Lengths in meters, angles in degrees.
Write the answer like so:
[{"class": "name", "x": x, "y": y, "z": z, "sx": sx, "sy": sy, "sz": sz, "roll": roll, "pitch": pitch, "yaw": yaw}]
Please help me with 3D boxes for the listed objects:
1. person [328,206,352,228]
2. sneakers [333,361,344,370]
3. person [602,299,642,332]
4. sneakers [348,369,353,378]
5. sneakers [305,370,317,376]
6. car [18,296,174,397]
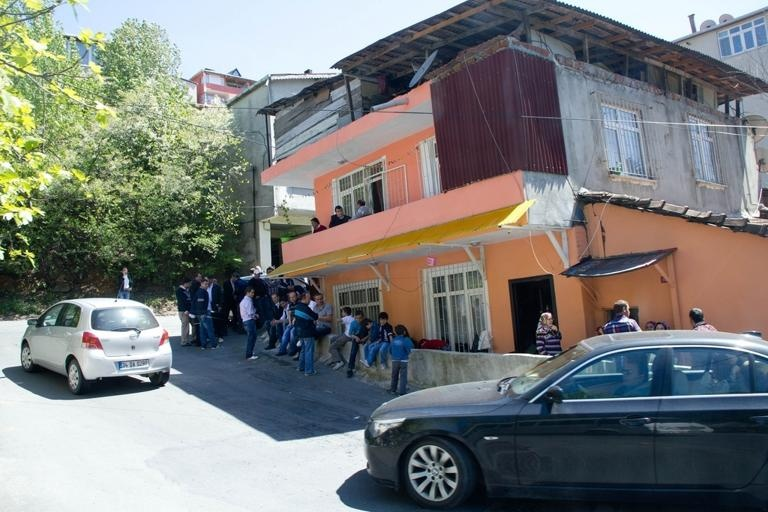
[{"class": "person", "x": -1.523, "y": -1.373, "z": 20.725, "sx": 0.678, "sy": 0.758, "sz": 1.383, "roll": 0, "pitch": 3, "yaw": -4}, {"class": "sneakers", "x": -1.334, "y": 3.156, "z": 17.393, "sx": 0.297, "sy": 0.150, "sz": 0.279, "roll": 1, "pitch": 3, "yaw": 18}, {"class": "person", "x": 5.166, "y": 1.282, "z": 13.147, "sx": 0.503, "sy": 0.886, "sz": 0.908, "roll": -5, "pitch": 2, "yaw": -44}, {"class": "sneakers", "x": -0.936, "y": 3.196, "z": 16.473, "sx": 0.163, "sy": 0.185, "sz": 0.194, "roll": 0, "pitch": 3, "yaw": -11}, {"class": "sneakers", "x": -1.981, "y": 3.206, "z": 16.531, "sx": 0.117, "sy": 0.123, "sz": 0.299, "roll": 3, "pitch": 3, "yaw": 36}, {"class": "car", "x": -7.087, "y": 2.113, "z": 14.629, "sx": 3.333, "sy": 2.129, "sz": 1.494, "roll": 2, "pitch": 3, "yaw": 24}]
